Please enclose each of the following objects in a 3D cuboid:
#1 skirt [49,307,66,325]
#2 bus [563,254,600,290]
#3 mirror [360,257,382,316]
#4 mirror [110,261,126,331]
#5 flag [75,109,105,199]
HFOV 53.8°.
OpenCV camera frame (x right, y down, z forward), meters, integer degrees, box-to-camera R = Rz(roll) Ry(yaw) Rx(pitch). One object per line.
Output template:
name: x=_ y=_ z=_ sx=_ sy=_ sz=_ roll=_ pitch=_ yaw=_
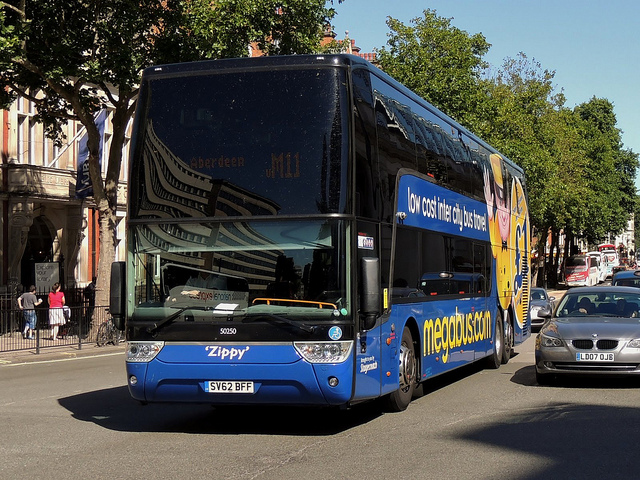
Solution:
skirt: x=-10.034 y=2.945 z=24.132 sx=0.600 sy=0.695 sz=0.045 roll=-1 pitch=-6 yaw=8
bus: x=28.261 y=3.377 z=67.977 sx=2.407 sy=3.727 sz=4.572 roll=-4 pitch=-8 yaw=42
mirror: x=0.641 y=0.618 z=7.810 sx=0.235 sy=0.755 sz=0.273 roll=-1 pitch=2 yaw=-1
mirror: x=-2.703 y=0.776 z=8.482 sx=0.218 sy=0.923 sz=0.209 roll=3 pitch=-5 yaw=-18
flag: x=-10.877 y=-3.948 z=29.792 sx=1.233 sy=3.988 sz=8.057 roll=2 pitch=-7 yaw=-20
